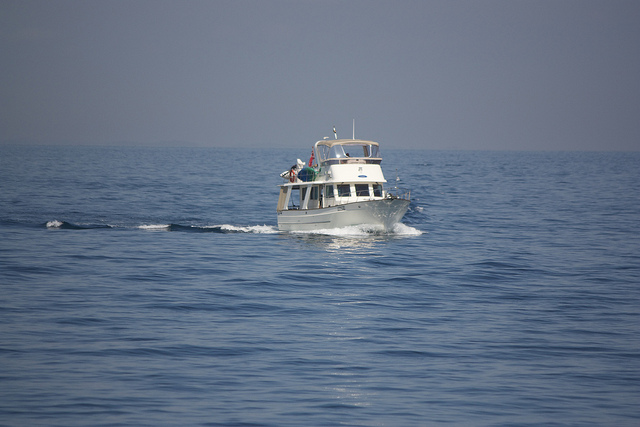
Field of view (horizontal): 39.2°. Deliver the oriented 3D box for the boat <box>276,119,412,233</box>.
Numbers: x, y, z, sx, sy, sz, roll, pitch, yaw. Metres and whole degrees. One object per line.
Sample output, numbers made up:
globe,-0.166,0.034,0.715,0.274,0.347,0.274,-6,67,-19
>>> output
boat,1.609,-1.634,56.957,8.178,6.805,3.480,5,-1,40
